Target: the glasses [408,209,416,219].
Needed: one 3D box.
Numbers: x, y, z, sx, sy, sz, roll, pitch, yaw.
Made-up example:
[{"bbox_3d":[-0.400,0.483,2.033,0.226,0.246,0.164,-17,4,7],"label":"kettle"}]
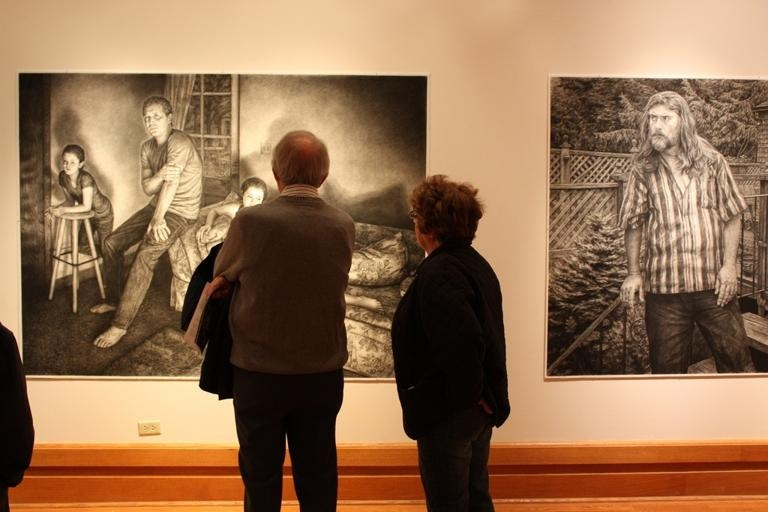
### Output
[{"bbox_3d":[0.205,-0.300,4.601,0.063,0.024,0.082,11,11,-6],"label":"glasses"}]
